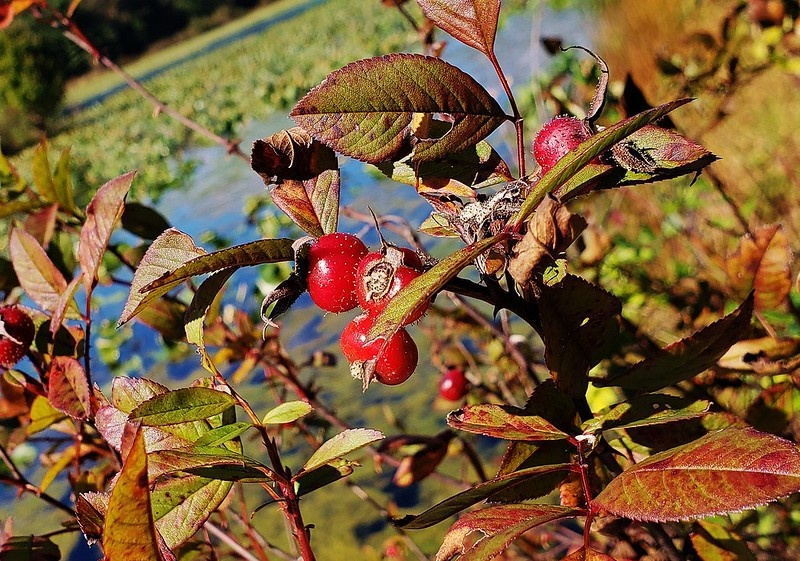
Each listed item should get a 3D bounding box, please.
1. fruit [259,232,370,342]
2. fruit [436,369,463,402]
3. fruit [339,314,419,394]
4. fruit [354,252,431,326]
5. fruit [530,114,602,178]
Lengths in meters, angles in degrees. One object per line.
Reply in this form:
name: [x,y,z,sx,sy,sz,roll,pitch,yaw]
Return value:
fruit: [-0.263,-0.013,4.071,0.362,0.185,0.230,-35,57,-5]
fruit: [0.215,0.426,5.073,0.085,0.125,0.097,22,45,6]
fruit: [-0.071,0.245,4.089,0.218,0.243,0.165,-23,24,41]
fruit: [-0.050,0.048,4.019,0.196,0.258,0.142,-4,-4,9]
fruit: [0.531,-0.459,4.061,0.175,0.151,0.197,-45,-9,-50]
